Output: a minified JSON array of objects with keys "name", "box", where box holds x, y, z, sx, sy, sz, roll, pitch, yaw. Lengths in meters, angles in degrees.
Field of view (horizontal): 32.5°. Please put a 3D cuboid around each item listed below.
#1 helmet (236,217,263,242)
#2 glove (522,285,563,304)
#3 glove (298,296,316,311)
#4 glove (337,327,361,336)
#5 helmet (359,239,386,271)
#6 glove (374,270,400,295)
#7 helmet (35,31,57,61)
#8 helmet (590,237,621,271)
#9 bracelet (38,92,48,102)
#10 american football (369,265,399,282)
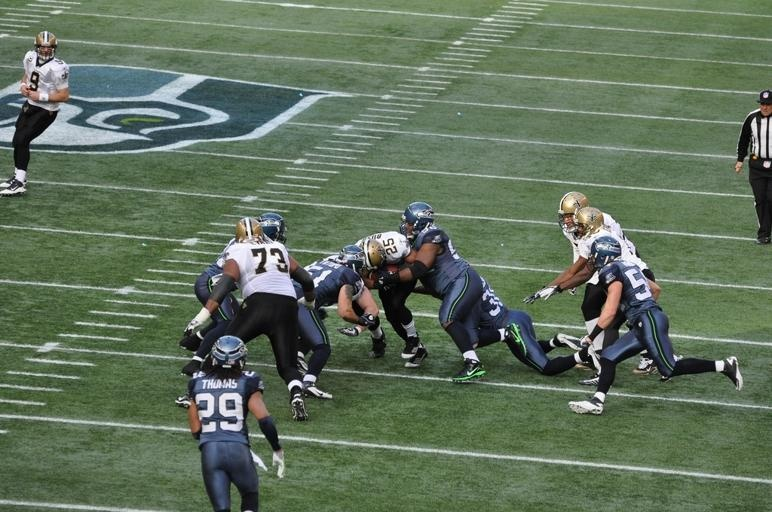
[{"name":"helmet","box":[-1.384,-0.276,13.615,0.304,0.224,0.278,-5,8,-22]},{"name":"glove","box":[1.748,0.451,14.614,0.375,0.081,0.185,-23,15,20]},{"name":"glove","box":[-0.821,0.505,13.947,0.154,0.088,0.165,27,-9,-10]},{"name":"glove","box":[-0.358,0.836,14.751,0.329,0.074,0.148,2,-7,-42]},{"name":"helmet","box":[-0.130,-0.012,14.330,0.363,0.267,0.294,12,22,27]},{"name":"glove","box":[0.032,0.283,14.371,0.219,0.189,0.087,10,8,29]},{"name":"helmet","box":[-4.582,-2.880,18.137,0.507,0.366,0.535,-2,15,-13]},{"name":"helmet","box":[2.316,-0.045,13.972,0.314,0.337,0.292,-2,8,4]},{"name":"bracelet","box":[-4.602,-2.147,17.839,0.166,0.104,0.106,-1,8,-27]},{"name":"american football","box":[-0.009,0.168,14.498,0.302,0.114,0.181,-17,7,5]}]
